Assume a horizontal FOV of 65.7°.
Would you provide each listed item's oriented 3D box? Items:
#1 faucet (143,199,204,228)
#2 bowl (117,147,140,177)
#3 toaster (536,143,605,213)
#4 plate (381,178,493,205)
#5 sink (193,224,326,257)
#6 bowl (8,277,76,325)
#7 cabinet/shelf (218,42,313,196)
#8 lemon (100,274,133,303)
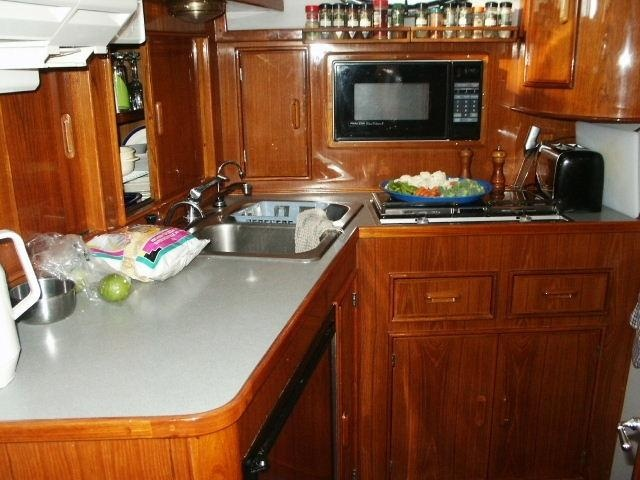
[{"bbox_3d":[-0.582,-0.104,1.950,0.157,0.102,0.066,-15,9,17],"label":"faucet"},{"bbox_3d":[-0.709,-0.300,1.876,0.109,0.077,0.094,3,29,-7],"label":"bowl"},{"bbox_3d":[1.123,-0.271,2.196,0.155,0.187,0.312,0,18,12],"label":"toaster"},{"bbox_3d":[0.538,-0.217,2.266,0.499,0.078,0.278,1,17,6],"label":"plate"},{"bbox_3d":[-0.271,-0.007,2.061,0.292,0.111,0.222,9,19,20],"label":"sink"},{"bbox_3d":[-0.709,0.157,1.269,0.127,0.055,0.137,3,10,0],"label":"bowl"},{"bbox_3d":[-0.298,-0.622,2.628,0.477,0.753,0.382,-6,9,-21],"label":"cabinet/shelf"},{"bbox_3d":[-0.564,0.132,1.361,0.069,0.065,0.084,33,3,-29],"label":"lemon"}]
